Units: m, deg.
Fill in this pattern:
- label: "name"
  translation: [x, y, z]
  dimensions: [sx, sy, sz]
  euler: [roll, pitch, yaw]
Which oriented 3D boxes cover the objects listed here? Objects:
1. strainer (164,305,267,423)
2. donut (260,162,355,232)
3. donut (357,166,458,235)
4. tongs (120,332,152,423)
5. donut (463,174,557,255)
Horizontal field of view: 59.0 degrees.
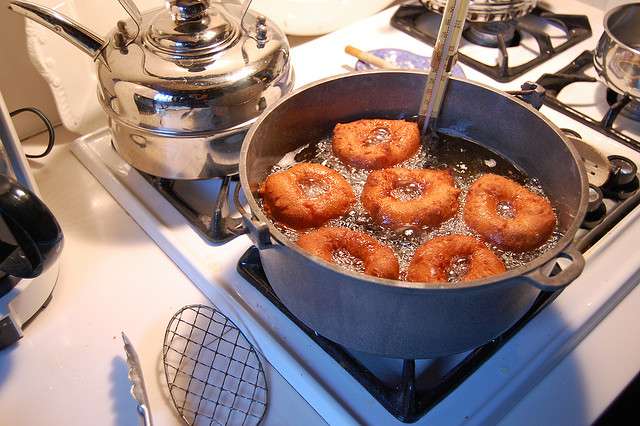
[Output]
- label: "strainer"
  translation: [-0.223, 0.324, 1.208]
  dimensions: [0.203, 0.051, 0.259]
  euler: [-9, 51, -6]
- label: "donut"
  translation: [-0.028, -0.040, 1.272]
  dimensions: [0.192, 0.059, 0.160]
  euler: [-24, 54, -18]
- label: "donut"
  translation: [0.202, -0.031, 1.263]
  dimensions: [0.168, 0.060, 0.167]
  euler: [-33, 55, -25]
- label: "tongs"
  translation: [-0.388, 0.337, 1.173]
  dimensions: [0.038, 0.086, 0.208]
  euler: [-19, 53, -13]
- label: "donut"
  translation: [0.424, 0.002, 1.255]
  dimensions: [0.201, 0.056, 0.173]
  euler: [15, 53, 13]
